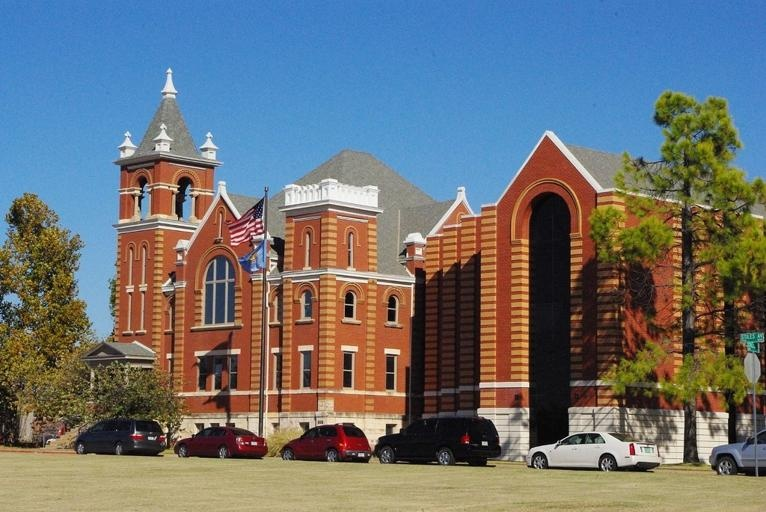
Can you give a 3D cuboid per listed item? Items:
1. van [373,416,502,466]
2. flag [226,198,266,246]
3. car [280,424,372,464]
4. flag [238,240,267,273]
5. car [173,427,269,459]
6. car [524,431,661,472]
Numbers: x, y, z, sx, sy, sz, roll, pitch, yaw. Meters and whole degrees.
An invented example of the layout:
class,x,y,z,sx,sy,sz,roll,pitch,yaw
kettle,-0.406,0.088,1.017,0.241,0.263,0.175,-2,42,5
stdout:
class,x,y,z,sx,sy,sz,roll,pitch,yaw
van,3.215,10.318,73.388,5.929,2.051,2.913,-1,-7,34
flag,-9.352,-2.165,90.857,3.786,3.858,0.563,-6,-2,27
car,-2.922,10.760,75.845,3.923,1.732,2.427,-3,-9,39
flag,-8.720,0.042,90.108,1.918,2.089,0.377,-14,-27,28
car,-9.435,11.162,78.378,4.648,1.367,2.217,-1,-9,33
car,11.110,10.480,70.722,6.193,1.946,2.665,-1,-8,30
